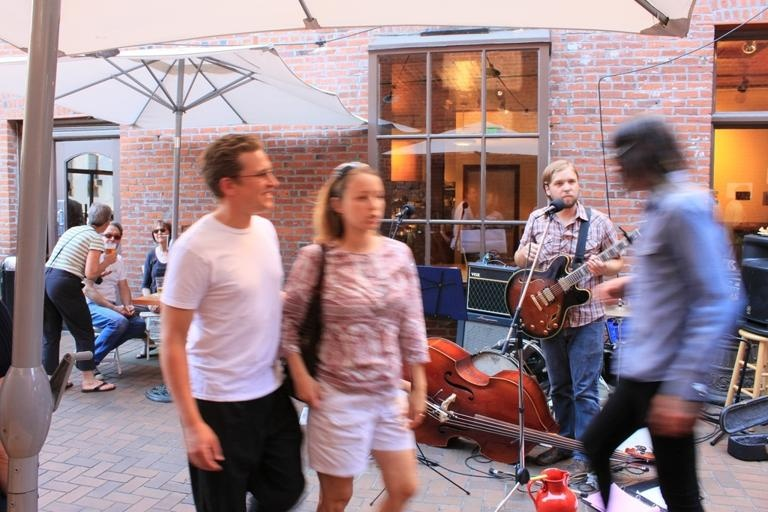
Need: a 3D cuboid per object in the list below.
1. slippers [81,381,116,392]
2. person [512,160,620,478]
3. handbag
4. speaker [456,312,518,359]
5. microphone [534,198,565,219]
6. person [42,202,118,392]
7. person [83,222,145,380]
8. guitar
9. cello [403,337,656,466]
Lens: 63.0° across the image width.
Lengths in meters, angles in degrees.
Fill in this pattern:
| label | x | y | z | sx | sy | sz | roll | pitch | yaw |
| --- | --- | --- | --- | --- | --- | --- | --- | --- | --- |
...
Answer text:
| label | x | y | z | sx | sy | sz | roll | pitch | yaw |
| --- | --- | --- | --- | --- | --- | --- | --- | --- | --- |
| slippers | -3.117 | 1.424 | 6.866 | 0.284 | 0.055 | 0.129 | 1 | 1 | 2 |
| person | 1.512 | 0.514 | 5.232 | 1.081 | 2.489 | 1.095 | -6 | 7 | -32 |
| handbag | -0.433 | 0.492 | 3.538 | 0.219 | 0.608 | 0.220 | -21 | -44 | 18 |
| speaker | 1.036 | 0.808 | 6.368 | 0.644 | 0.392 | 0.430 | -8 | -8 | 33 |
| microphone | 1.348 | -0.375 | 5.096 | 0.290 | 0.068 | 0.073 | -23 | 6 | -26 |
| person | -3.406 | 0.433 | 6.997 | 0.954 | 1.925 | 0.752 | -1 | 5 | -41 |
| person | -3.248 | 0.482 | 7.556 | 1.069 | 1.742 | 0.704 | 9 | 1 | 28 |
| guitar | 1.468 | 0.165 | 5.531 | 0.921 | 0.980 | 1.324 | -1 | 1 | 33 |
| cello | 1.032 | 1.302 | 5.465 | 2.244 | 0.770 | 0.668 | 14 | 9 | 23 |
